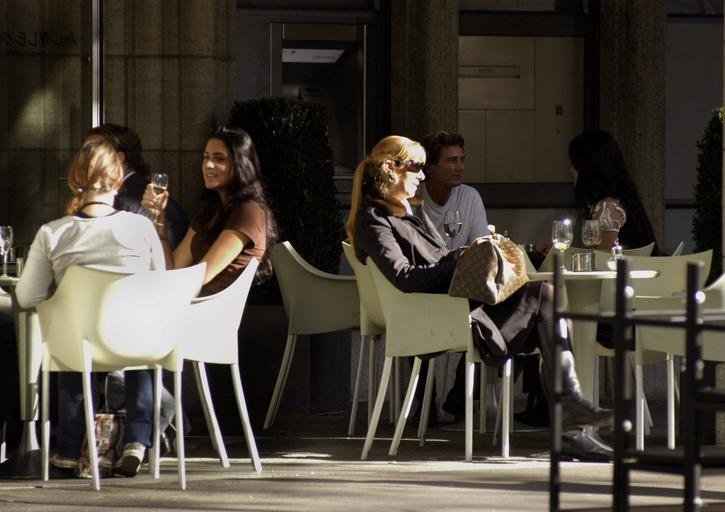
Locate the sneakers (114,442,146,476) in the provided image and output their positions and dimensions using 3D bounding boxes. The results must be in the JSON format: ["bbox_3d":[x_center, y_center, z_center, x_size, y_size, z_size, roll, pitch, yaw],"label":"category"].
[{"bbox_3d":[-1.242,1.086,5.851,0.094,0.123,0.281,4,-33,-2],"label":"sneakers"}]

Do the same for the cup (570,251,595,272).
[{"bbox_3d":[1.354,0.035,6.742,0.146,0.124,0.120,1,-3,23],"label":"cup"}]

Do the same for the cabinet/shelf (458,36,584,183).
[{"bbox_3d":[1.668,-1.546,11.464,1.594,1.779,0.849,0,-3,0],"label":"cabinet/shelf"}]

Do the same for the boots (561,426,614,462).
[{"bbox_3d":[1.250,1.077,6.219,0.383,0.172,0.137,1,5,32],"label":"boots"}]

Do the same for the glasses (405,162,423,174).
[{"bbox_3d":[0.291,-0.526,6.355,0.068,0.074,0.024,4,-8,-20],"label":"glasses"}]

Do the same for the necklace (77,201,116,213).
[{"bbox_3d":[-1.393,-0.245,5.694,0.205,0.089,0.135,2,-1,-5],"label":"necklace"}]
